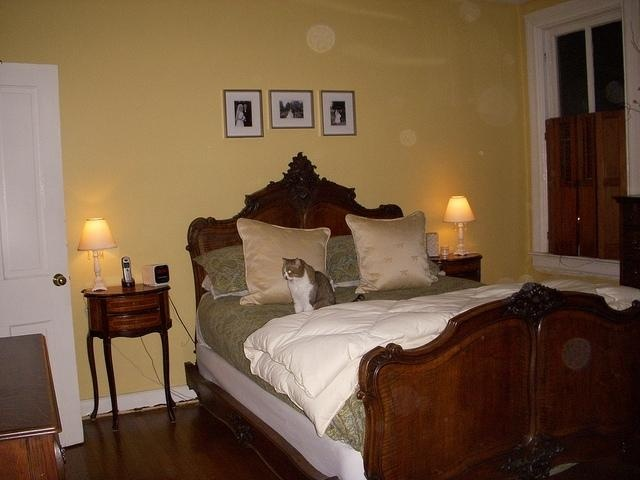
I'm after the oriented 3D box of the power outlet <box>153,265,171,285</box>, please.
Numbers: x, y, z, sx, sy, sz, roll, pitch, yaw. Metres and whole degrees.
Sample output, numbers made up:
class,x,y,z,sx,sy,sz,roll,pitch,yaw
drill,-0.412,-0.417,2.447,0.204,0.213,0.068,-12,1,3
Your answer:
class,x,y,z,sx,sy,sz,roll,pitch,yaw
power outlet,-1.233,0.275,3.791,0.065,0.116,0.112,-4,4,14

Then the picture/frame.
class,x,y,z,sx,sy,sz,roll,pitch,yaw
picture/frame,-0.250,-1.135,4.344,1.231,0.436,0.018,-7,4,-20

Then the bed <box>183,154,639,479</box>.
class,x,y,z,sx,sy,sz,roll,pitch,yaw
bed,0.157,0.415,3.348,1.799,1.833,2.591,-7,17,-28

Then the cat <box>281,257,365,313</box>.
class,x,y,z,sx,sy,sz,roll,pitch,yaw
cat,-0.077,0.296,3.289,0.327,0.357,0.239,-6,4,-5

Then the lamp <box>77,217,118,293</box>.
class,x,y,z,sx,sy,sz,roll,pitch,yaw
lamp,-1.701,0.108,3.729,0.249,0.471,0.316,-7,4,-27
